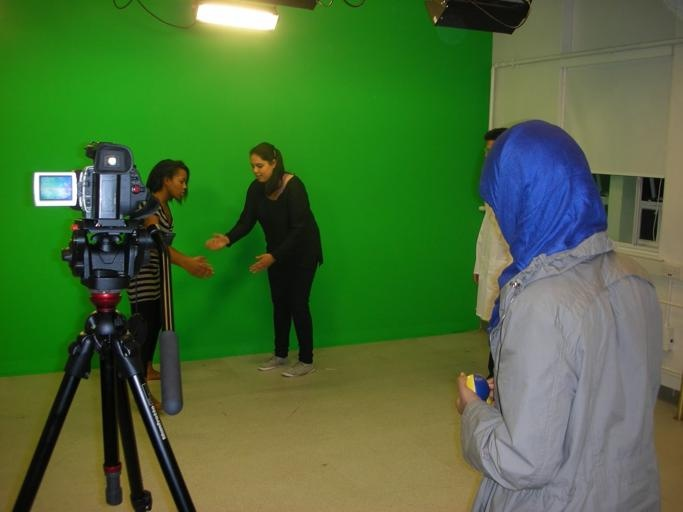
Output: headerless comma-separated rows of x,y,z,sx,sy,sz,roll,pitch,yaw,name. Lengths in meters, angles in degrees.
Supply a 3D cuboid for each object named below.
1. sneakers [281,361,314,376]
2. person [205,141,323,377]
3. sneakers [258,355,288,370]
-0.359,0.905,4.470,0.243,0.106,0.097,-1,4,-18,sneakers
-0.557,0.017,4.470,0.701,1.818,0.463,3,12,12,person
-0.570,0.893,4.606,0.235,0.101,0.091,-2,4,-24,sneakers
